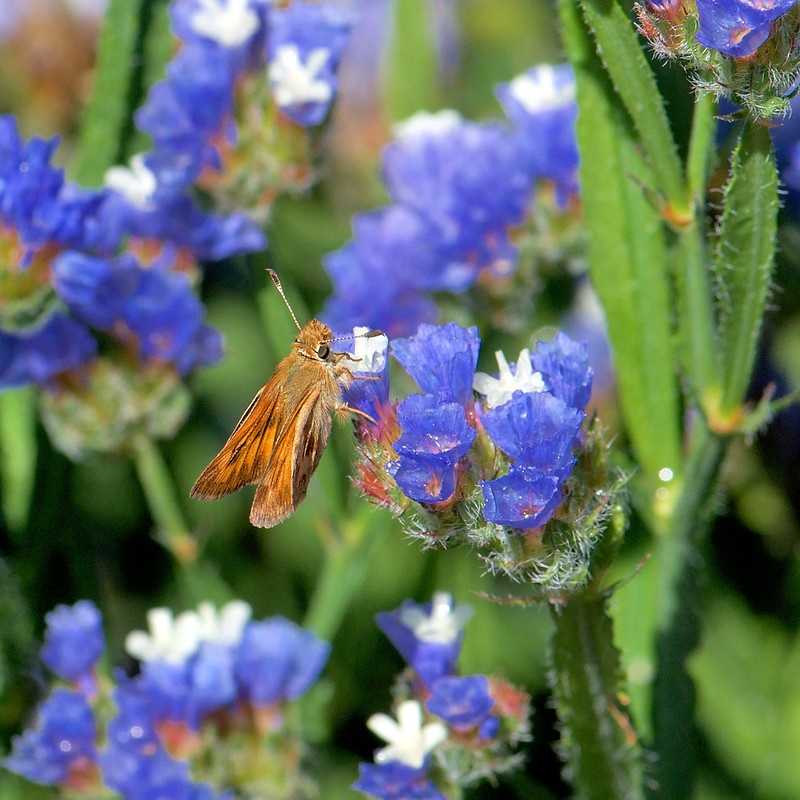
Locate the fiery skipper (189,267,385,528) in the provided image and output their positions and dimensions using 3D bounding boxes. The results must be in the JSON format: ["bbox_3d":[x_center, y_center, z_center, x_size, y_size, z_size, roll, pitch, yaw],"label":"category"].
[{"bbox_3d":[-0.112,0.011,1.306,0.253,0.123,0.173,-56,0,4],"label":"fiery skipper"}]
